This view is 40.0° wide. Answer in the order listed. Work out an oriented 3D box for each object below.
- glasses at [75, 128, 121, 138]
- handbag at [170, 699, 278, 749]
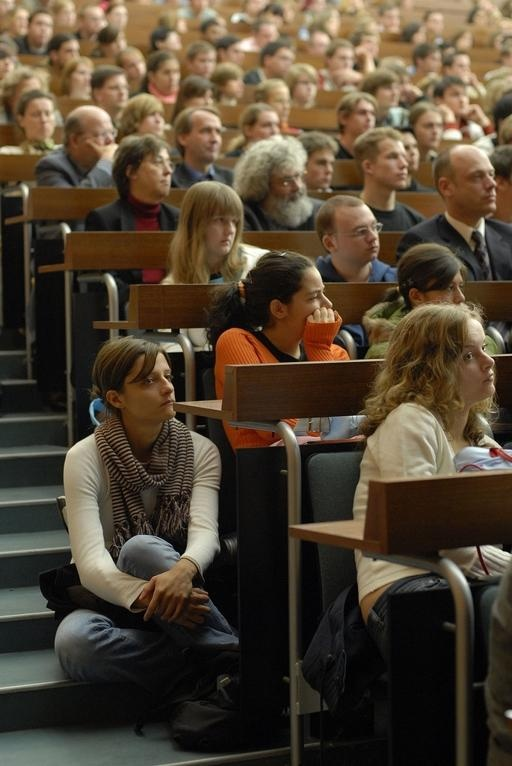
[{"bbox_3d":[-0.962,-1.490,4.216,0.135,0.033,0.130,3,8,32],"label":"glasses"},{"bbox_3d":[-0.085,0.744,1.586,0.184,0.066,0.137,-5,-15,26],"label":"handbag"}]
